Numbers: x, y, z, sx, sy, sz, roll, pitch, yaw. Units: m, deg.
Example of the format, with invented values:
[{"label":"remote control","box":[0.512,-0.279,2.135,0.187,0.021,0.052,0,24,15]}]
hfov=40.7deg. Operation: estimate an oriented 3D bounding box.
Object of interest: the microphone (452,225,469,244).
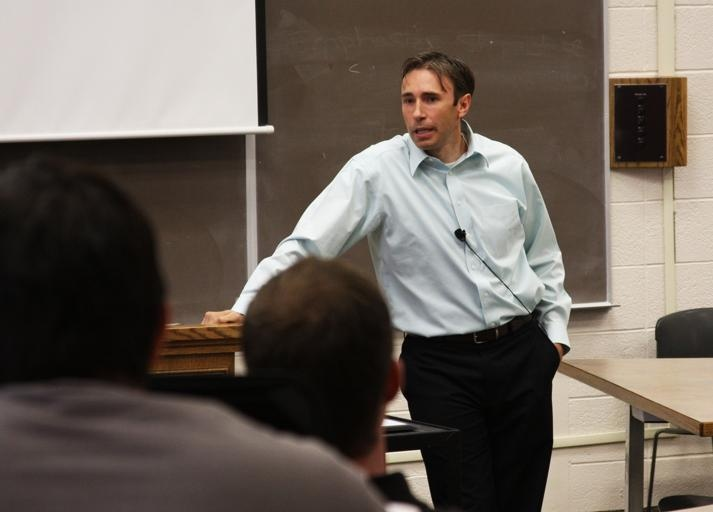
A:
[{"label":"microphone","box":[0.338,-0.074,3.116,0.035,0.053,0.016,-27,-18,32]}]
